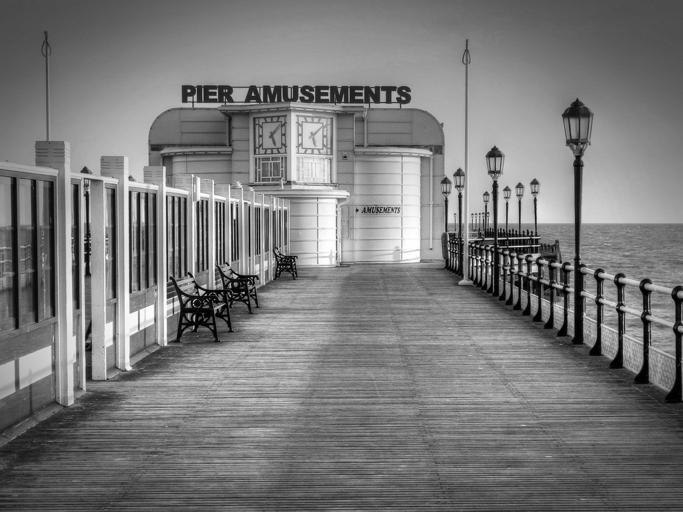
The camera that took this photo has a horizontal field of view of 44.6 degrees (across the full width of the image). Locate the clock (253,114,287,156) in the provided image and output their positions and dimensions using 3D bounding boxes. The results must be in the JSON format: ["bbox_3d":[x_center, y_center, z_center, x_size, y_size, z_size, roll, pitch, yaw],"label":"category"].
[{"bbox_3d":[-3.804,-6.527,44.756,2.046,2.202,0.209,4,7,28],"label":"clock"}]

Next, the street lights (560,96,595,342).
[{"bbox_3d":[4.269,-0.640,15.175,0.488,4.396,0.928,1,4,17],"label":"street lights"}]
